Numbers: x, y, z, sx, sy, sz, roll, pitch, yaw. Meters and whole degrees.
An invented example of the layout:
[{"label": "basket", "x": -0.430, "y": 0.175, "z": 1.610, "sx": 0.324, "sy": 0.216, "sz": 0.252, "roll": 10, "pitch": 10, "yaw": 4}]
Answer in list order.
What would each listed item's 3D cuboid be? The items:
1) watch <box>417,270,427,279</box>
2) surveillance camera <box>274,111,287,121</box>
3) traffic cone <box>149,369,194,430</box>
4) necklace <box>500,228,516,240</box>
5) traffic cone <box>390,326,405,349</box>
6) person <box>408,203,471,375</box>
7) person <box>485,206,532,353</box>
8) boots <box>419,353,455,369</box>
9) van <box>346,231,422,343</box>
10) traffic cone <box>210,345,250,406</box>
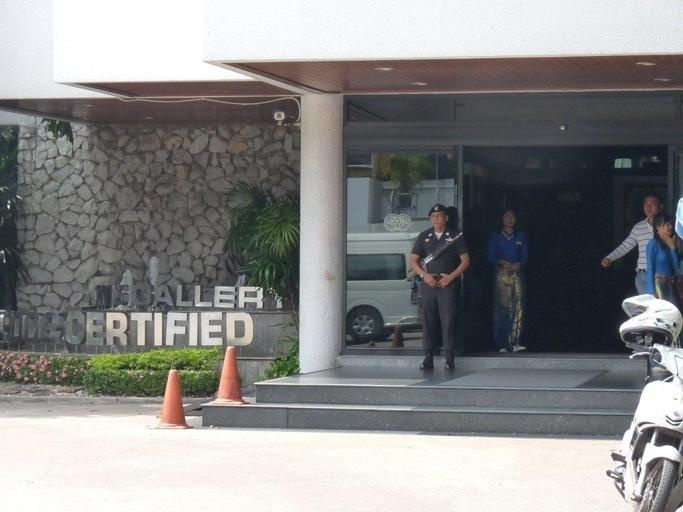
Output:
[{"label": "watch", "x": 1.116, "y": 0.272, "z": 14.872, "sx": 0.066, "sy": 0.113, "sz": 0.036, "roll": 12, "pitch": 47, "yaw": 20}, {"label": "surveillance camera", "x": -0.956, "y": -2.170, "z": 16.667, "sx": 0.251, "sy": 0.132, "sz": 0.355, "roll": -1, "pitch": 5, "yaw": -7}, {"label": "traffic cone", "x": -2.139, "y": 1.818, "z": 13.688, "sx": 0.544, "sy": 0.730, "sz": 0.577, "roll": -3, "pitch": -5, "yaw": 16}, {"label": "necklace", "x": 2.473, "y": -0.306, "z": 15.921, "sx": 0.224, "sy": 0.161, "sz": 0.127, "roll": 0, "pitch": 0, "yaw": -15}, {"label": "traffic cone", "x": 0.805, "y": 1.200, "z": 15.531, "sx": 0.245, "sy": 0.360, "sz": 0.252, "roll": 0, "pitch": -4, "yaw": 0}, {"label": "person", "x": 1.347, "y": 0.436, "z": 14.869, "sx": 0.755, "sy": 2.284, "sz": 0.384, "roll": -1, "pitch": -1, "yaw": 35}, {"label": "person", "x": 2.462, "y": 0.371, "z": 15.900, "sx": 0.566, "sy": 2.065, "sz": 0.363, "roll": 0, "pitch": -1, "yaw": 8}, {"label": "boots", "x": 1.348, "y": 1.487, "z": 14.955, "sx": 0.292, "sy": 0.192, "sz": 0.248, "roll": -3, "pitch": -12, "yaw": 13}, {"label": "van", "x": 1.017, "y": 0.483, "z": 16.306, "sx": 1.020, "sy": 1.608, "sz": 1.849, "roll": -2, "pitch": -1, "yaw": 30}, {"label": "traffic cone", "x": -1.460, "y": 1.572, "z": 14.199, "sx": 0.626, "sy": 0.737, "sz": 0.637, "roll": 2, "pitch": -5, "yaw": -29}]
